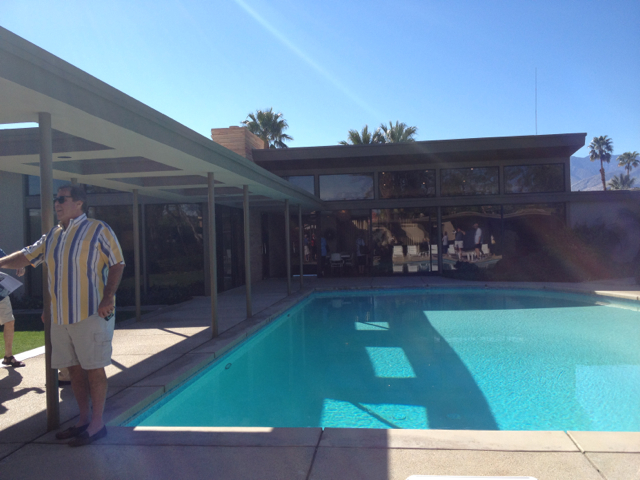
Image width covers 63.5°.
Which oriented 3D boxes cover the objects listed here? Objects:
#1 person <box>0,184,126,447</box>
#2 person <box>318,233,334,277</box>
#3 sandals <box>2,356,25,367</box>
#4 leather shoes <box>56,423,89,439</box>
[{"bbox_3d":[-2.578,0.744,5.472,0.934,2.563,0.793,8,16,33],"label":"person"},{"bbox_3d":[0.178,0.502,18.304,0.488,1.555,0.208,-1,13,-1],"label":"person"},{"bbox_3d":[-4.293,1.699,7.322,0.326,0.176,0.130,1,1,7],"label":"sandals"},{"bbox_3d":[-2.542,1.985,5.403,0.341,0.113,0.135,4,-10,-28],"label":"leather shoes"}]
